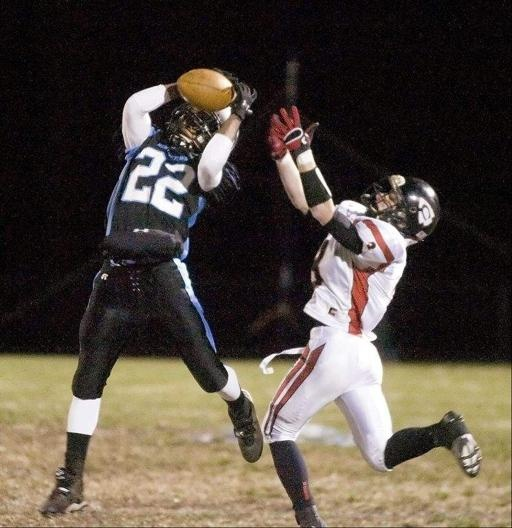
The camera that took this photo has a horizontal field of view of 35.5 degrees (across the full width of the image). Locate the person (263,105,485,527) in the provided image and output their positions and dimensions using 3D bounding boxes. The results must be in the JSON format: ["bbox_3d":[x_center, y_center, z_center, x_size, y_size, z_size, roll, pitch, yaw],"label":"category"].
[{"bbox_3d":[0.608,0.292,4.663,1.313,2.348,0.764,6,7,-1],"label":"person"}]

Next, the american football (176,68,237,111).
[{"bbox_3d":[-0.286,-1.029,4.677,0.369,0.181,0.207,11,46,0],"label":"american football"}]

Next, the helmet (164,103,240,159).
[{"bbox_3d":[-0.332,-0.797,4.815,0.433,0.320,0.311,-5,-33,7],"label":"helmet"}]

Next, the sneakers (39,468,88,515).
[{"bbox_3d":[-1.091,1.306,4.562,0.278,0.295,0.124,0,9,-39],"label":"sneakers"}]

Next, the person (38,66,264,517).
[{"bbox_3d":[-0.563,0.190,4.706,1.133,2.511,0.588,5,7,-11],"label":"person"}]
